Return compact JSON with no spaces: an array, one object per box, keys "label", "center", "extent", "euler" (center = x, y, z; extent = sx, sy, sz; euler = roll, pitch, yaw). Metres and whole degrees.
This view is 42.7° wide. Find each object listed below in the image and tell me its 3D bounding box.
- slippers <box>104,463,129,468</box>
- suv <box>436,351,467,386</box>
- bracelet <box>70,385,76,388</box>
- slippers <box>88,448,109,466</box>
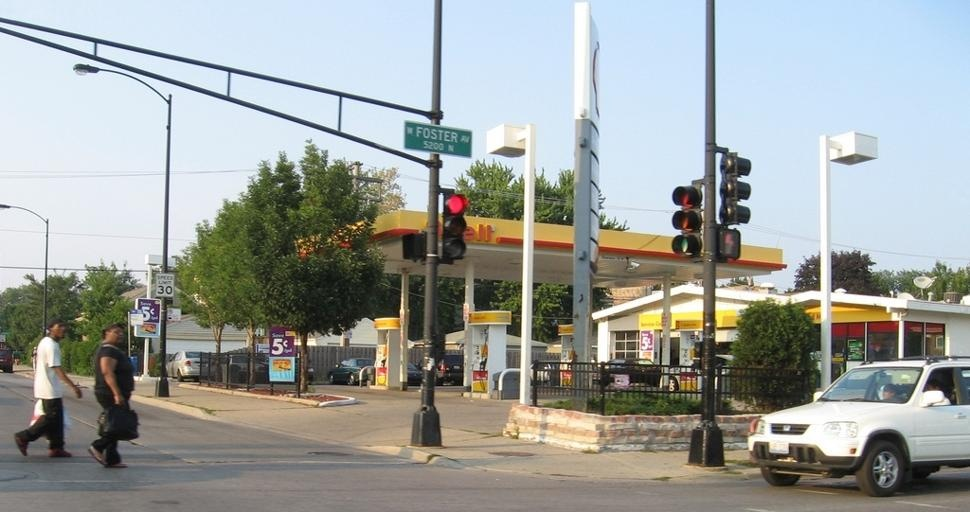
[{"label":"slippers","center":[-12.255,7.032,41.436],"extent":[0.667,0.225,0.208],"euler":[-1,-6,-7]},{"label":"suv","center":[-2.123,6.851,75.070],"extent":[1.501,2.005,1.321],"euler":[2,-8,-5]},{"label":"bracelet","center":[-13.783,4.370,41.642],"extent":[0.200,0.041,0.170],"euler":[1,-22,-15]},{"label":"slippers","center":[-12.882,6.697,41.507],"extent":[0.629,0.598,0.575],"euler":[3,-8,-15]}]
